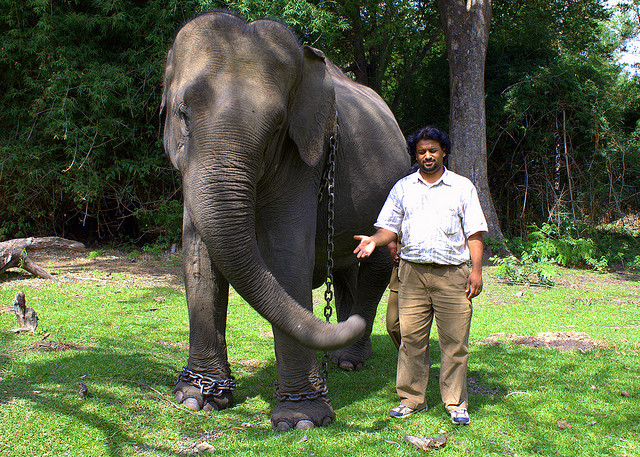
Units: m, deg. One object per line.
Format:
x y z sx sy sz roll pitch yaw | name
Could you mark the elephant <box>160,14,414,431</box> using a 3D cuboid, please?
0.095 -0.219 6.206 2.415 3.332 4.880 5 8 23 | elephant
